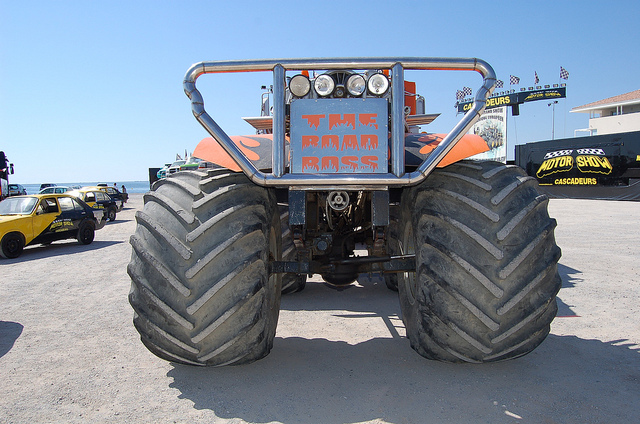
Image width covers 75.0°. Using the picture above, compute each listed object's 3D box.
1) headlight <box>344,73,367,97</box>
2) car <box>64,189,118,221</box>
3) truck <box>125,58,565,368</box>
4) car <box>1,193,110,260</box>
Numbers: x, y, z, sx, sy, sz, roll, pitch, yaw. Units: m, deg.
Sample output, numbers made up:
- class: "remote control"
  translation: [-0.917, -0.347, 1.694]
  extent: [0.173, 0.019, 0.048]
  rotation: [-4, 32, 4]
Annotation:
- class: "headlight"
  translation: [0.309, -1.147, 3.819]
  extent: [0.197, 0.206, 0.199]
  rotation: [3, 3, -1]
- class: "car"
  translation: [-9.382, -0.303, 17.032]
  extent: [1.261, 1.122, 2.396]
  rotation: [7, 11, 32]
- class: "truck"
  translation: [0.314, -0.192, 6.304]
  extent: [3.948, 3.462, 5.481]
  rotation: [0, 5, 3]
- class: "car"
  translation: [-8.147, 0.305, 12.164]
  extent: [1.270, 1.606, 2.971]
  rotation: [2, 8, 17]
